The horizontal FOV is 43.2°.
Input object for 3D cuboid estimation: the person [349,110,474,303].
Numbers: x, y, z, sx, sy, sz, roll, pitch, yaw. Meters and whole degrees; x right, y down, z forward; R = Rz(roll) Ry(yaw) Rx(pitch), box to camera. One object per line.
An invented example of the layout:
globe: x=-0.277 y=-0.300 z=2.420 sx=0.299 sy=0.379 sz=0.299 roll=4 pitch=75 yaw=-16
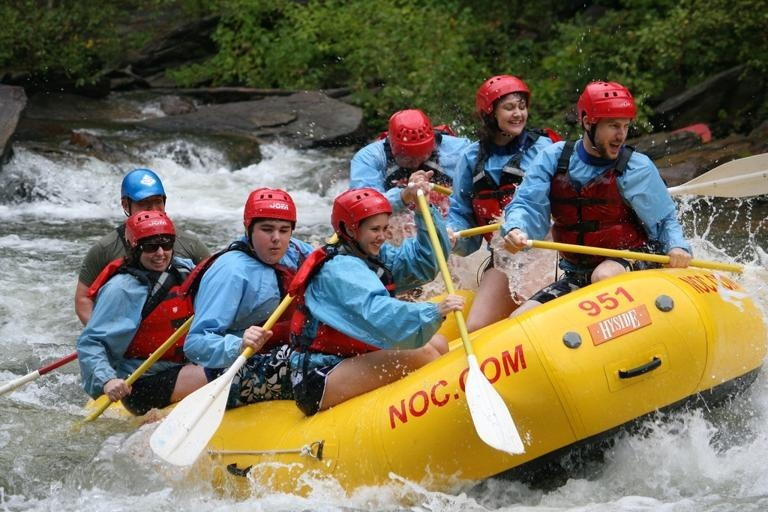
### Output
person: x=0.313 y=-0.733 z=9.721 sx=1.332 sy=0.878 sz=1.849 roll=-14 pitch=63 yaw=4

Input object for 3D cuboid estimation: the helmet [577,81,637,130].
helmet: x=1.852 y=-1.255 z=8.142 sx=0.330 sy=0.361 sz=0.431 roll=-1 pitch=-1 yaw=-41

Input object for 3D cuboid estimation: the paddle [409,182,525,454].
paddle: x=0.600 y=0.406 z=7.745 sx=0.360 sy=0.124 sz=3.158 roll=-16 pitch=57 yaw=2

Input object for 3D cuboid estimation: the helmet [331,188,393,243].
helmet: x=-0.180 y=-0.310 z=7.821 sx=0.441 sy=0.355 sz=0.368 roll=-5 pitch=-9 yaw=25

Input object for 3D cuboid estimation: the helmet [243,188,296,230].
helmet: x=-0.983 y=-0.429 z=8.132 sx=0.301 sy=0.259 sz=0.417 roll=1 pitch=-17 yaw=-18

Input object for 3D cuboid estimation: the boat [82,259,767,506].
boat: x=0.748 y=1.160 z=7.714 sx=3.187 sy=0.729 sz=2.091 roll=-23 pitch=-5 yaw=30

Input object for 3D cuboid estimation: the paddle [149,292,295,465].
paddle: x=-1.206 y=0.925 z=7.928 sx=0.466 sy=2.007 sz=0.107 roll=37 pitch=-5 yaw=-1

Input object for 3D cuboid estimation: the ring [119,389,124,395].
ring: x=-2.184 y=1.128 z=8.094 sx=0.045 sy=0.044 sz=0.014 roll=1 pitch=0 yaw=-20

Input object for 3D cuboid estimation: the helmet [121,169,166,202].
helmet: x=-2.255 y=-0.661 z=9.135 sx=0.283 sy=0.221 sz=0.379 roll=-7 pitch=6 yaw=-39
